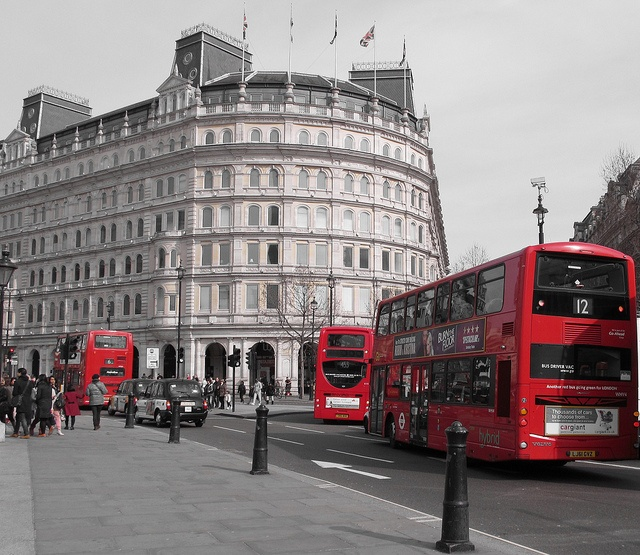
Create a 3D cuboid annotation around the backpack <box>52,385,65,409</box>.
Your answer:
[{"bbox_3d":[-8.169,3.841,24.781,0.350,0.765,0.642,8,-16,-33],"label":"backpack"}]

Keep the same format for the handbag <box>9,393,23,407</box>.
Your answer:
[{"bbox_3d":[-8.461,3.484,22.034,0.262,0.417,0.197,0,-16,9],"label":"handbag"}]

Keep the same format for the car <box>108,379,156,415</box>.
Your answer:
[{"bbox_3d":[-8.130,5.176,34.400,1.459,1.736,3.392,3,-5,-28],"label":"car"}]

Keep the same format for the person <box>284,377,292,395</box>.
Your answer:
[{"bbox_3d":[-2.409,8.202,58.464,0.375,1.282,1.335,-5,2,14],"label":"person"}]

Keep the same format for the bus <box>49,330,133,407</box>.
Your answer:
[{"bbox_3d":[-12.673,5.095,43.940,3.247,5.201,8.636,2,-6,-34],"label":"bus"}]

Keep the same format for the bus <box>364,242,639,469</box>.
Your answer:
[{"bbox_3d":[3.323,2.028,19.943,3.269,3.813,10.309,-7,1,-23],"label":"bus"}]

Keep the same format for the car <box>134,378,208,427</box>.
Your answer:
[{"bbox_3d":[-5.645,4.780,30.050,1.437,1.492,2.936,3,-3,-28],"label":"car"}]
